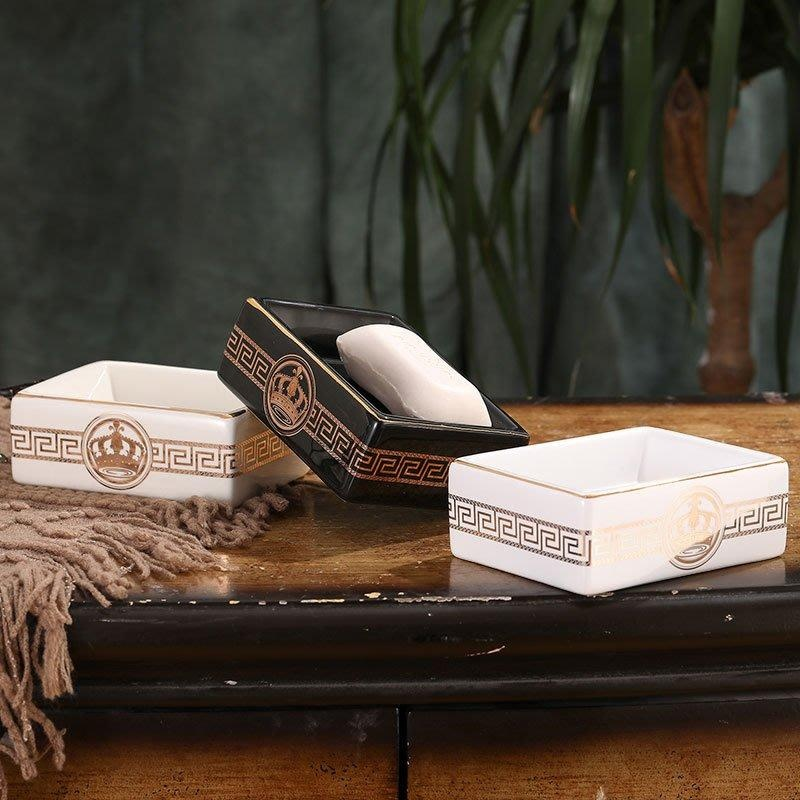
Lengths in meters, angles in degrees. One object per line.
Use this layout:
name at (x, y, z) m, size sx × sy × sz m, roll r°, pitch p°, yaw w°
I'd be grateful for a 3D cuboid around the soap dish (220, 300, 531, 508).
soap dish at (-0.035, 0.001, 0.842) m, size 0.109 × 0.058 × 0.178 m, roll 6°, pitch 26°, yaw -40°

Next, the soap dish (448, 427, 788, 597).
soap dish at (0.136, 0.067, 0.744) m, size 0.185 × 0.075 × 0.122 m, roll -5°, pitch 8°, yaw -31°
